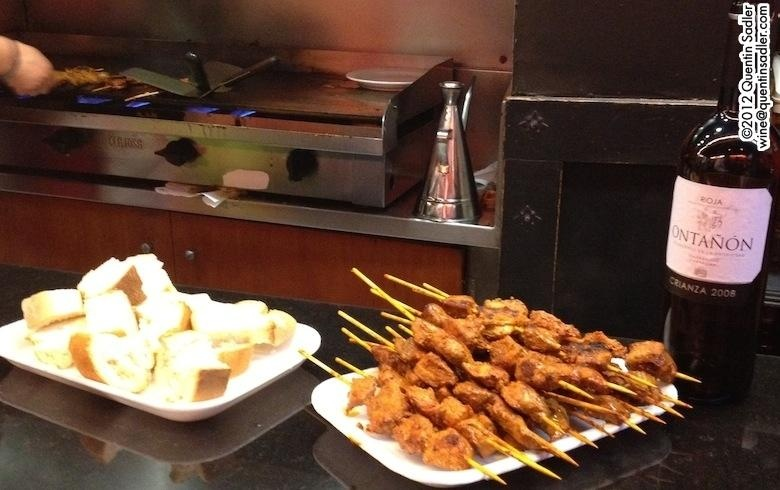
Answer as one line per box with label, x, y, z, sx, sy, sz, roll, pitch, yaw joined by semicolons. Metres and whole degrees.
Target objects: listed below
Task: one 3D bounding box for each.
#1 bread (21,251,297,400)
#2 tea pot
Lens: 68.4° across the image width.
bread;-0.428;0.138;0.989;0.350;0.092;0.267;12;27;23
tea pot;0.205;-0.319;2.006;0.221;0.490;0.168;-9;27;-15
